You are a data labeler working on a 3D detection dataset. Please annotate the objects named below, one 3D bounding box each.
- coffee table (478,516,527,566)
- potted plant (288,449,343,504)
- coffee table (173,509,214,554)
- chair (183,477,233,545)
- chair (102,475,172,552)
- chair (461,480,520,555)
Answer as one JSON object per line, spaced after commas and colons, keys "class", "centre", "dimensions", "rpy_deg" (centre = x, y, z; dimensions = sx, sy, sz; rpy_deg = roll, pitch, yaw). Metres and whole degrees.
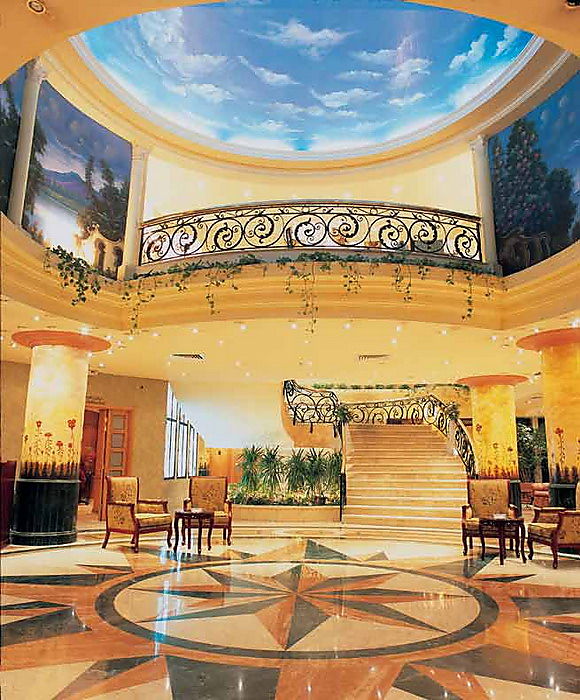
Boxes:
{"class": "coffee table", "centre": [3.373, 2.872, 7.067], "dimensions": [0.542, 0.576, 0.547], "rpy_deg": [19, -37, -26]}
{"class": "potted plant", "centre": [0.591, 3.475, 12.983], "dimensions": [1.619, 1.641, 1.197], "rpy_deg": [2, -14, -6]}
{"class": "coffee table", "centre": [-1.698, 3.086, 7.744], "dimensions": [0.583, 0.639, 0.658], "rpy_deg": [9, -22, -10]}
{"class": "chair", "centre": [-1.523, 3.013, 8.591], "dimensions": [0.864, 1.231, 0.776], "rpy_deg": [2, -16, -7]}
{"class": "chair", "centre": [-2.662, 2.844, 8.065], "dimensions": [1.121, 1.182, 1.140], "rpy_deg": [10, -18, -34]}
{"class": "chair", "centre": [3.408, 2.830, 7.825], "dimensions": [1.138, 1.193, 1.079], "rpy_deg": [13, -21, -33]}
